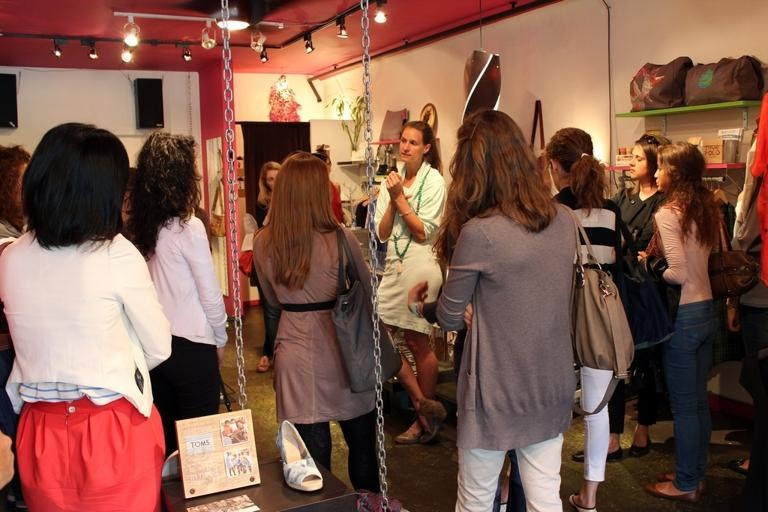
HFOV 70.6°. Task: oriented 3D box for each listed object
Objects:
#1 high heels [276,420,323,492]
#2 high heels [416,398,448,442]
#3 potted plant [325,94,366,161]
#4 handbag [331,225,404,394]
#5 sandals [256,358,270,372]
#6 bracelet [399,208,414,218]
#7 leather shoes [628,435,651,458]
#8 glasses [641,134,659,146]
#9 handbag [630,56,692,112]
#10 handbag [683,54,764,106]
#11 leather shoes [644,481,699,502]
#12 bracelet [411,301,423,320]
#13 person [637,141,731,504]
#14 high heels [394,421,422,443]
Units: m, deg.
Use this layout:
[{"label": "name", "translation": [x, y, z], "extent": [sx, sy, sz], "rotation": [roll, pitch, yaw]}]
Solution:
[{"label": "high heels", "translation": [-0.319, 0.737, 2.009], "extent": [0.097, 0.073, 0.269], "rotation": [-5, 19, -23]}, {"label": "high heels", "translation": [0.352, 1.180, 4.014], "extent": [0.186, 0.430, 0.153], "rotation": [9, 23, 6]}, {"label": "potted plant", "translation": [-0.521, -2.119, 8.596], "extent": [0.386, 0.963, 1.144], "rotation": [-5, 7, -26]}, {"label": "handbag", "translation": [-0.091, 0.279, 2.701], "extent": [0.287, 0.821, 0.361], "rotation": [0, 7, 13]}, {"label": "sandals", "translation": [-1.278, 1.154, 5.773], "extent": [0.082, 0.101, 0.244], "rotation": [1, 9, -1]}, {"label": "bracelet", "translation": [0.156, -0.302, 3.757], "extent": [0.080, 0.057, 0.145], "rotation": [0, 7, 15]}, {"label": "leather shoes", "translation": [1.817, 1.384, 3.875], "extent": [0.080, 0.094, 0.238], "rotation": [-14, -17, 37]}, {"label": "glasses", "translation": [1.930, -0.851, 3.941], "extent": [0.082, 0.036, 0.099], "rotation": [9, -21, 44]}, {"label": "handbag", "translation": [2.273, -1.397, 4.427], "extent": [0.297, 0.389, 0.560], "rotation": [-5, 7, -26]}, {"label": "handbag", "translation": [2.540, -1.320, 4.079], "extent": [0.510, 0.339, 0.194], "rotation": [3, 8, 34]}, {"label": "leather shoes", "translation": [1.766, 1.455, 3.353], "extent": [0.296, 0.107, 0.105], "rotation": [4, 3, 30]}, {"label": "bracelet", "translation": [0.147, 0.267, 2.612], "extent": [0.051, 0.073, 0.083], "rotation": [0, -30, -1]}, {"label": "person", "translation": [1.837, 0.394, 3.350], "extent": [0.356, 2.189, 0.424], "rotation": [3, 8, 32]}, {"label": "high heels", "translation": [0.209, 1.361, 4.177], "extent": [0.094, 0.115, 0.280], "rotation": [-9, -10, 42]}]
